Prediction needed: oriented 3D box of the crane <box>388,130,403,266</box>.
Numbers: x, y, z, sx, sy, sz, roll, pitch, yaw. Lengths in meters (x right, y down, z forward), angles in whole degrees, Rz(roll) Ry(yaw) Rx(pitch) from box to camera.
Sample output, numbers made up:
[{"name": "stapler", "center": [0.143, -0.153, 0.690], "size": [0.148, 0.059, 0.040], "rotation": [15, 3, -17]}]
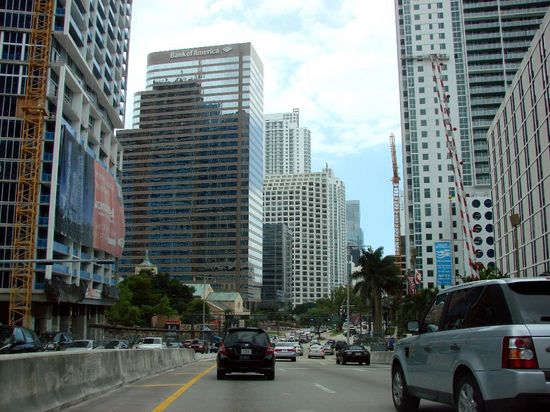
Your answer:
[{"name": "crane", "center": [25.102, 0.532, 132.242], "size": [2.393, 35.522, 3.486], "rotation": [4, -3, 4]}]

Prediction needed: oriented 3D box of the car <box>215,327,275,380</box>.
[{"name": "car", "center": [-1.070, 5.414, 23.724], "size": [2.121, 1.891, 2.947], "rotation": [1, -11, -2]}]

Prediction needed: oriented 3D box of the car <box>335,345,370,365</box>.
[{"name": "car", "center": [4.748, 8.975, 39.107], "size": [1.779, 1.171, 2.347], "rotation": [0, -14, 0]}]
